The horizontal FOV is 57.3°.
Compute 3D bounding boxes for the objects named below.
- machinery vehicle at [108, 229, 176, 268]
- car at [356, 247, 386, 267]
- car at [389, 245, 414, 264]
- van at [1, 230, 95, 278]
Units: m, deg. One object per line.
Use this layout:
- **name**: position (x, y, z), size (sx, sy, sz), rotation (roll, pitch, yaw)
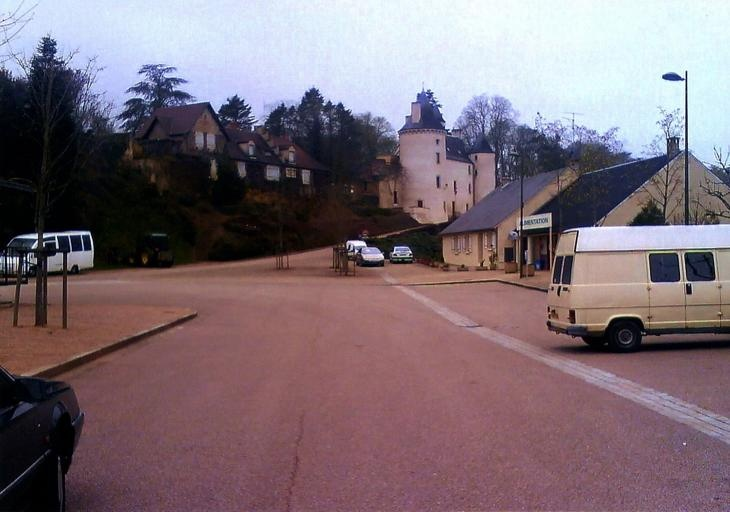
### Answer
- **machinery vehicle**: position (-18.238, -0.582, 55.359), size (4.335, 2.761, 2.704), rotation (1, 1, 30)
- **car**: position (0.256, 0.156, 58.591), size (1.919, 1.680, 3.040), rotation (2, -1, -31)
- **car**: position (3.295, -0.128, 62.916), size (1.843, 1.603, 1.959), rotation (1, -1, 15)
- **van**: position (-16.376, -0.127, 34.730), size (2.370, 2.482, 4.207), rotation (-4, -5, 42)
